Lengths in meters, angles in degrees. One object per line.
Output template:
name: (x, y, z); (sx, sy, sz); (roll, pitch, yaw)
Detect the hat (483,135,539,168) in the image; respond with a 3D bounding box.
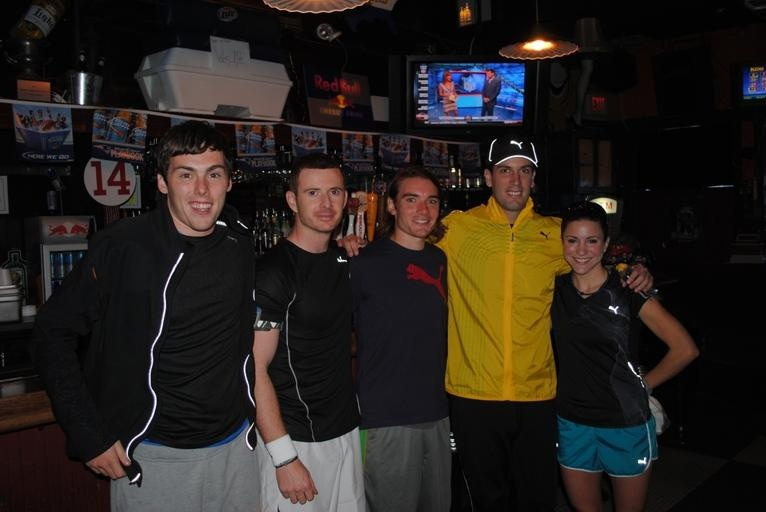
hat: (0.834, -0.665, 4.046); (0.298, 0.197, 0.463); (0, -2, -4)

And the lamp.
lamp: (1.489, -2.031, 5.763); (0.631, 0.244, 0.566); (-2, 9, -11)

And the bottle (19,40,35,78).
bottle: (-2.850, -1.528, 4.769); (0.141, 0.307, 0.183); (-5, 11, -29)

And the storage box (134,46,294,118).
storage box: (-1.411, -1.385, 5.120); (0.983, 0.391, 0.594); (-1, 3, -41)

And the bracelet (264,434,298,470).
bracelet: (-0.545, 1.003, 3.151); (0.172, 0.161, 0.052); (-19, 2, -5)

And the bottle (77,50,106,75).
bottle: (-2.554, -1.647, 5.168); (0.209, 0.206, 0.207); (-1, 9, -9)
